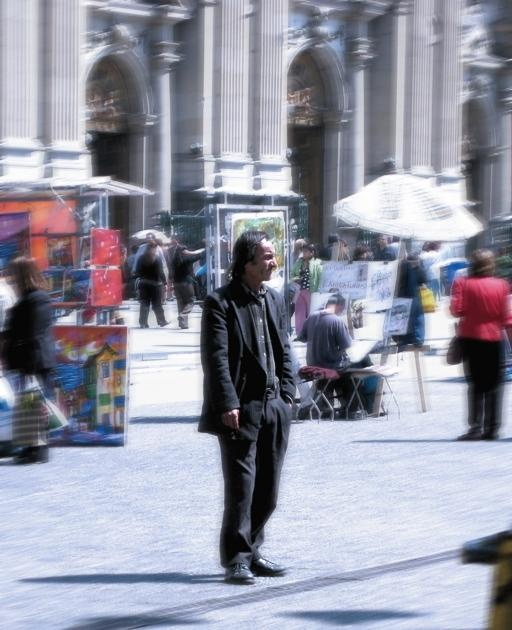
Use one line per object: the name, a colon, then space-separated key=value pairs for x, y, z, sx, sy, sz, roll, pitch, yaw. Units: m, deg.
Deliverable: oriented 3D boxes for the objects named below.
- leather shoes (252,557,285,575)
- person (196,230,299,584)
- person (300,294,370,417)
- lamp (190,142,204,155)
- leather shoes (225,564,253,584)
leather shoes: x=0.048 y=1.319 z=6.242 sx=0.205 sy=0.081 sz=0.074 roll=6 pitch=19 yaw=-3
person: x=-0.060 y=0.459 z=6.165 sx=0.329 sy=1.788 sz=0.513 roll=5 pitch=6 yaw=39
person: x=0.765 y=0.409 z=12.044 sx=0.543 sy=1.280 sz=0.685 roll=5 pitch=7 yaw=45
lamp: x=-1.679 y=-4.569 z=32.507 sx=0.411 sy=0.303 sz=0.293 roll=5 pitch=-12 yaw=14
leather shoes: x=-0.087 y=1.321 z=6.065 sx=0.152 sy=0.102 sz=0.088 roll=0 pitch=5 yaw=-4
